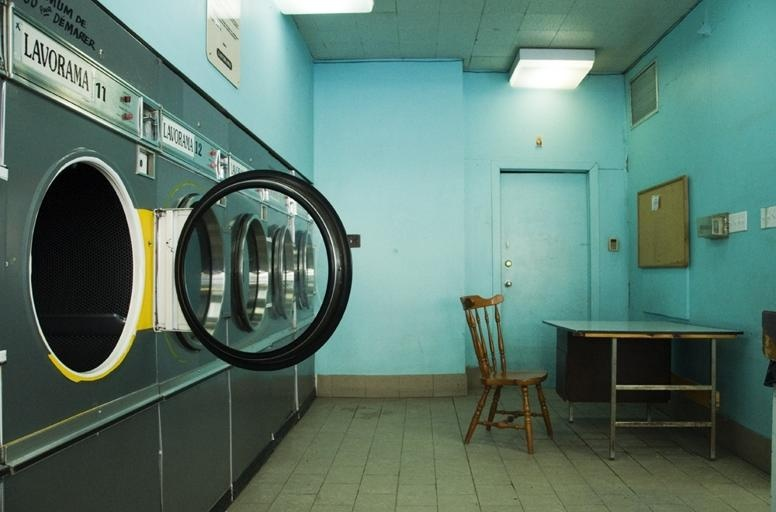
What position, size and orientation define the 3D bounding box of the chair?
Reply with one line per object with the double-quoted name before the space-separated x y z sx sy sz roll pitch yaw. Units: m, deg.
"chair" 0.927 0.869 4.540 0.630 1.024 0.622 0 -2 38
